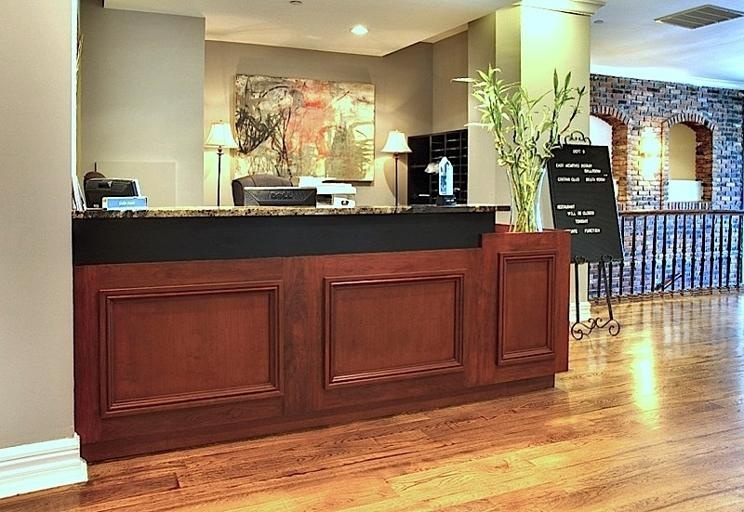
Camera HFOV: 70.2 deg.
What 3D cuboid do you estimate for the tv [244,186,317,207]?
[{"bbox_3d":[-0.617,-0.398,3.512,0.463,0.111,0.120,2,8,11],"label":"tv"}]

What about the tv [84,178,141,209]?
[{"bbox_3d":[-1.561,-0.391,3.159,0.288,0.125,0.210,0,-3,-7],"label":"tv"}]

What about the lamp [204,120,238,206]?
[{"bbox_3d":[-1.951,-1.233,6.919,0.414,1.112,0.619,-2,8,-16],"label":"lamp"}]
